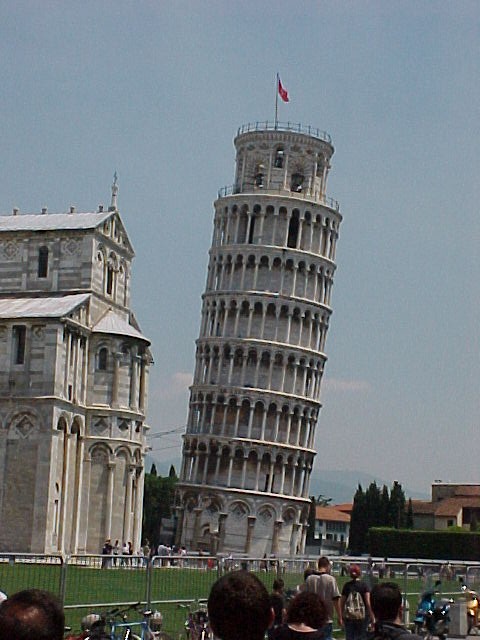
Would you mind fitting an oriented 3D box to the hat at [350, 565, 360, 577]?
[{"bbox_3d":[1.791,3.841,21.158,0.142,0.199,0.193,5,31,4],"label":"hat"}]
